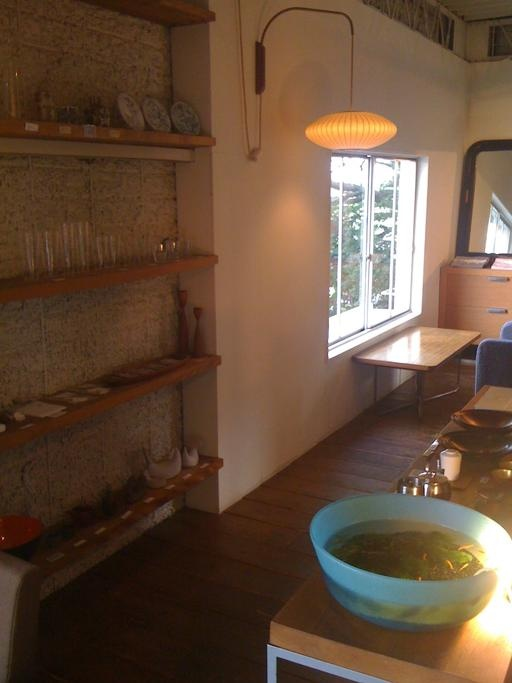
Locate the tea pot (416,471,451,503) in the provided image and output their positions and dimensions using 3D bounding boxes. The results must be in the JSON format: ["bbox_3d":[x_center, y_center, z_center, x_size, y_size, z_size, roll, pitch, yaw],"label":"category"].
[{"bbox_3d":[0.561,0.453,1.810,0.079,0.087,0.123,3,27,25],"label":"tea pot"}]
